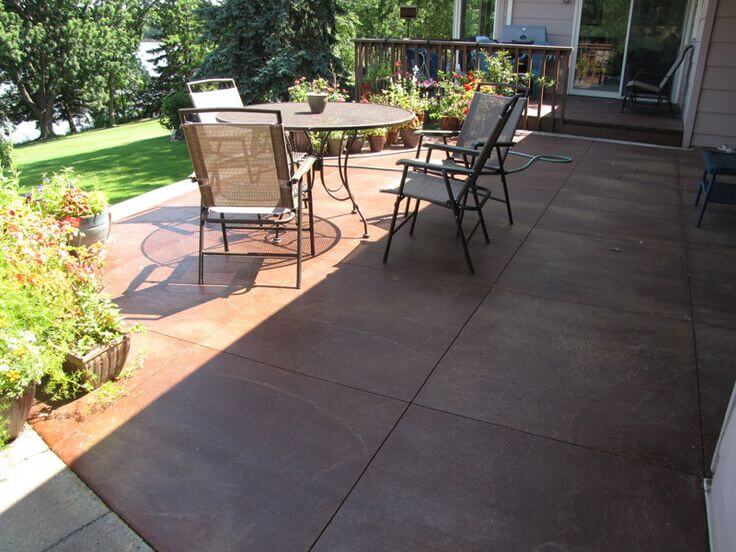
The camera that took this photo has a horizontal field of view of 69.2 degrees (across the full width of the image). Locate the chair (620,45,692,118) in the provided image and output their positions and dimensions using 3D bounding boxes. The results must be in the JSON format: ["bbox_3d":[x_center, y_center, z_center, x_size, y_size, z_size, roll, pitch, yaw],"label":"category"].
[{"bbox_3d":[5.023,-3.384,9.369,0.952,1.135,0.765,10,9,27],"label":"chair"}]

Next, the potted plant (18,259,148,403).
[{"bbox_3d":[-1.364,0.258,2.598,0.359,0.593,0.572,-19,6,28],"label":"potted plant"}]

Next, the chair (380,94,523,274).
[{"bbox_3d":[0.580,-0.726,3.960,0.851,1.245,0.757,9,23,20],"label":"chair"}]

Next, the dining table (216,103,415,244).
[{"bbox_3d":[-0.280,-0.825,4.568,1.327,0.899,1.380,-2,25,0],"label":"dining table"}]

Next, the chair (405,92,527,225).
[{"bbox_3d":[0.877,-0.921,4.360,0.716,0.960,0.704,-1,18,29],"label":"chair"}]

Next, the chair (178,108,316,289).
[{"bbox_3d":[-0.821,-0.627,3.879,0.758,1.233,1.299,2,20,1],"label":"chair"}]

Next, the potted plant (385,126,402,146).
[{"bbox_3d":[0.333,-1.885,7.156,0.206,0.234,0.216,14,37,16],"label":"potted plant"}]

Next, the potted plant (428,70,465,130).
[{"bbox_3d":[1.214,-2.489,7.924,0.581,0.738,0.540,4,11,2],"label":"potted plant"}]

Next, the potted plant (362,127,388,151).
[{"bbox_3d":[0.116,-1.736,6.944,0.371,0.314,0.381,-8,26,-14],"label":"potted plant"}]

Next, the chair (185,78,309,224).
[{"bbox_3d":[-0.962,-0.730,4.380,0.801,1.362,1.029,2,28,5],"label":"chair"}]
